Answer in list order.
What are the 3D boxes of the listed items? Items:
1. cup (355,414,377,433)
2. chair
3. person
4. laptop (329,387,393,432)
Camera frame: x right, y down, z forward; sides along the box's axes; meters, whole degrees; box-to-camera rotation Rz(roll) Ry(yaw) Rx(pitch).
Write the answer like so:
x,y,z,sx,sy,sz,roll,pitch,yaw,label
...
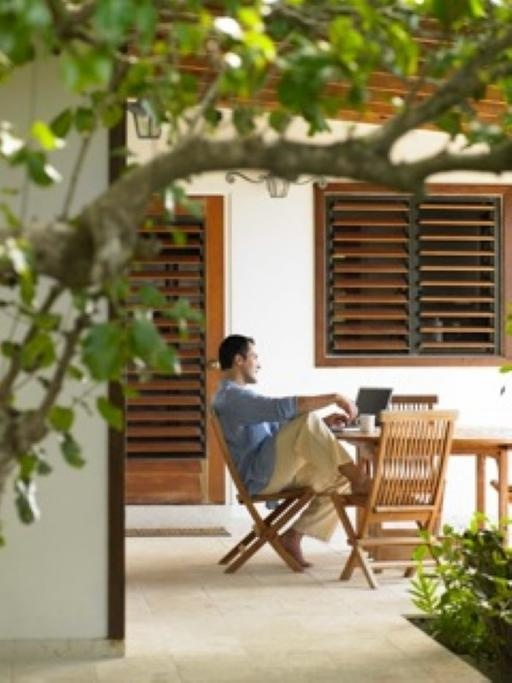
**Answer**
x,y,z,sx,sy,sz,roll,pitch,yaw,label
0.463,0.345,3.719,0.085,0.074,0.079,1,1,0,cup
0.391,0.604,3.747,0.790,0.852,0.999,2,-2,-14,chair
0.168,0.433,3.942,0.695,0.959,0.630,-6,-17,-6,person
0.492,0.329,4.253,0.172,0.194,0.230,6,0,-38,laptop
